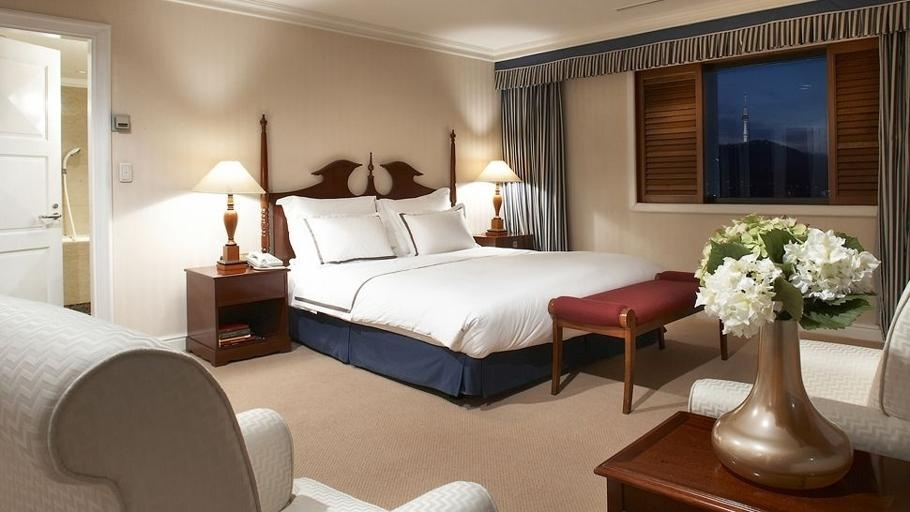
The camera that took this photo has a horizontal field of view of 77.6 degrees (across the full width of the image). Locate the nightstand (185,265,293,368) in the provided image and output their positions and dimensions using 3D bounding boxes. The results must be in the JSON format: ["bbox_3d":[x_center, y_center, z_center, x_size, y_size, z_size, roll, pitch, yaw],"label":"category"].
[{"bbox_3d":[-1.986,0.483,5.138,0.760,0.749,0.661,-5,11,-40],"label":"nightstand"}]

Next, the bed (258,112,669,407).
[{"bbox_3d":[0.065,-0.254,5.530,2.667,2.214,2.879,-9,15,-44],"label":"bed"}]

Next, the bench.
[{"bbox_3d":[1.531,0.604,4.577,0.670,0.724,1.694,4,8,45],"label":"bench"}]

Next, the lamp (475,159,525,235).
[{"bbox_3d":[0.549,-0.703,7.142,0.584,0.869,0.589,-2,3,-24],"label":"lamp"}]

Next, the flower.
[{"bbox_3d":[1.212,0.074,2.132,0.549,0.363,0.543,-4,6,-39],"label":"flower"}]

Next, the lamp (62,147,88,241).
[{"bbox_3d":[-4.773,-0.792,7.043,0.289,1.125,0.486,-9,12,-26],"label":"lamp"}]

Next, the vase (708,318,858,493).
[{"bbox_3d":[1.252,0.525,2.200,0.546,0.575,0.490,-2,10,14],"label":"vase"}]

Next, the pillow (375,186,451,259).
[{"bbox_3d":[-0.472,-0.376,6.006,0.249,0.671,0.930,-27,-9,31],"label":"pillow"}]

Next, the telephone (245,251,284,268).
[{"bbox_3d":[-1.743,0.034,5.066,0.179,0.071,0.240,-4,10,-41],"label":"telephone"}]
